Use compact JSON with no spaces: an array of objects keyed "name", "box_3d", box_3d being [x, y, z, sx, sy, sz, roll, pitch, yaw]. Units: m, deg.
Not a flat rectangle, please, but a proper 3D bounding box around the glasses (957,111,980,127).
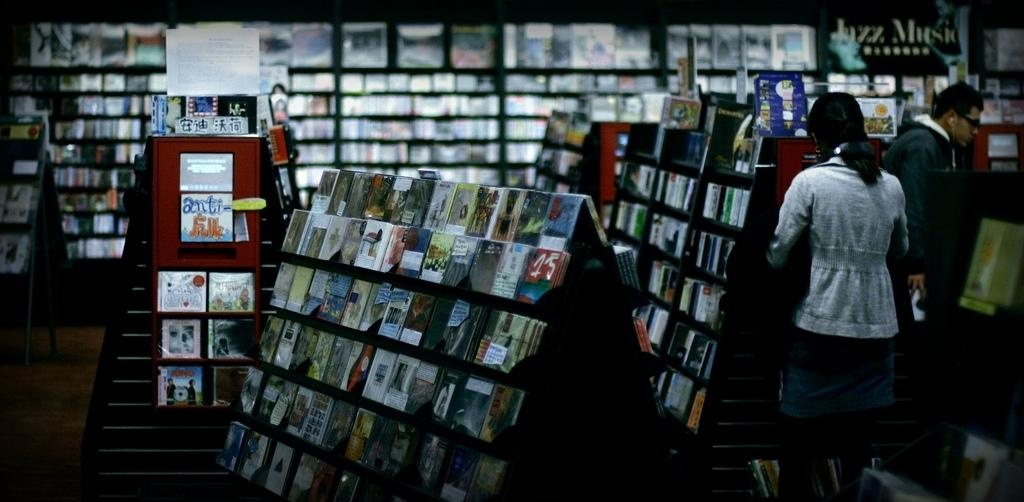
[{"name":"glasses","box_3d":[4.352,-1.253,8.409,0.157,0.046,0.133,18,4,27]}]
